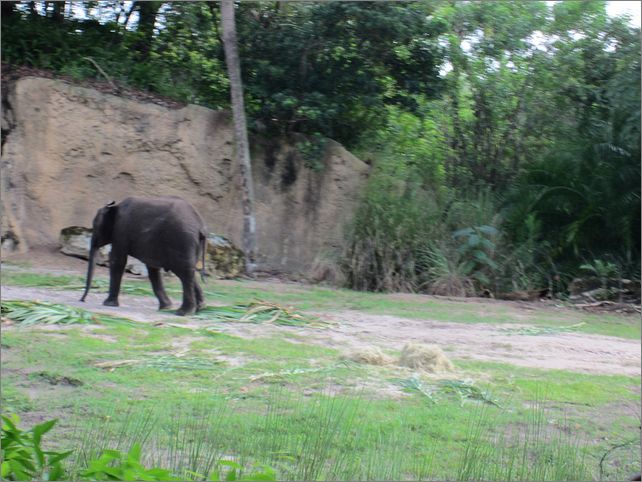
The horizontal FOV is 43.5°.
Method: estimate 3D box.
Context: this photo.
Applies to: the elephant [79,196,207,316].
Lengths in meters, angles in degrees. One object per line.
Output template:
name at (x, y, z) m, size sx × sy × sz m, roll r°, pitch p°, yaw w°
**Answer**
elephant at (-2.229, 0.141, 10.208) m, size 1.570 × 1.414 × 0.771 m, roll 8°, pitch 12°, yaw 1°
